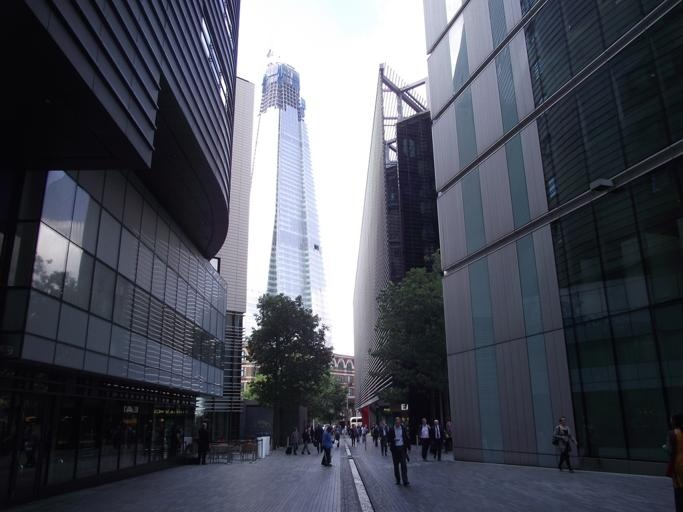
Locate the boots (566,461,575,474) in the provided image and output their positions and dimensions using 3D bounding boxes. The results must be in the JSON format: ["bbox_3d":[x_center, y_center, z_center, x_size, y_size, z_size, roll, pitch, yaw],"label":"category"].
[{"bbox_3d":[7.565,6.983,15.632,0.205,0.453,0.438,-18,-25,14],"label":"boots"}]

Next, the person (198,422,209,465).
[{"bbox_3d":[-7.526,10.210,25.648,0.516,1.960,1.456,5,-23,-16],"label":"person"}]
